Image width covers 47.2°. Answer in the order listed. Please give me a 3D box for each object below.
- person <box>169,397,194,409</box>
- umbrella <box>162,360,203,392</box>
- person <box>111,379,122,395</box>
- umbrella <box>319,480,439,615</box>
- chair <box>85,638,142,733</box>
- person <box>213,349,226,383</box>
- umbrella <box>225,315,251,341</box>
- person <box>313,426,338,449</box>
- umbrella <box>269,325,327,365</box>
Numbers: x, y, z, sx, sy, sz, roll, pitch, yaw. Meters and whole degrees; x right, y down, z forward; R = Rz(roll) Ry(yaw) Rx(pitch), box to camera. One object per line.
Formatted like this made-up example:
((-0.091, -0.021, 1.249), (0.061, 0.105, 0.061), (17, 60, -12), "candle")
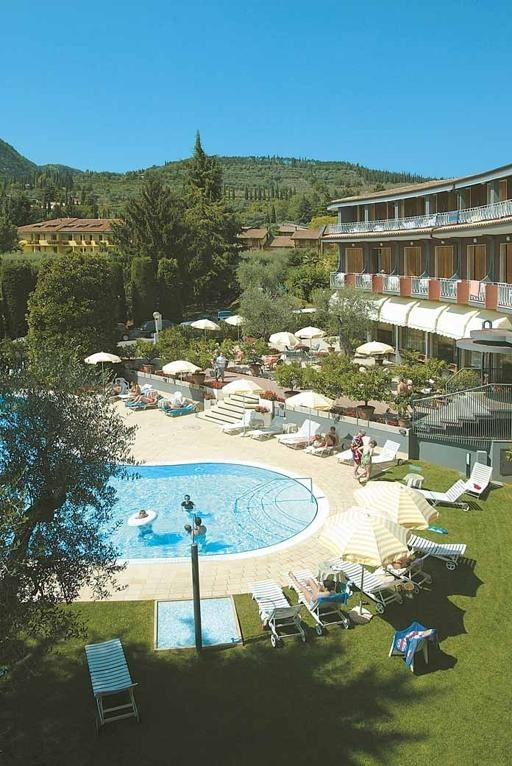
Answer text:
((-4.248, 1.013, 33.011), (0.732, 0.671, 1.392), (7, 10, 43), "person")
((-4.185, -0.234, 33.618), (1.810, 1.336, 1.863), (-7, 12, -26), "umbrella")
((-8.301, 0.264, 34.800), (0.482, 0.735, 0.708), (9, 25, 23), "person")
((2.744, 3.995, 12.913), (2.265, 2.843, 2.648), (2, 16, 15), "umbrella")
((-2.283, 4.729, 9.251), (0.594, 0.568, 1.517), (-5, 16, -26), "chair")
((-2.325, -0.957, 36.342), (0.724, 1.450, 2.334), (-1, 8, -4), "person")
((-1.468, -4.550, 45.787), (1.243, 1.401, 1.292), (6, 16, 33), "umbrella")
((3.073, 2.370, 24.885), (1.276, 0.961, 0.578), (-5, 3, -42), "person")
((2.691, -1.866, 40.212), (2.829, 2.348, 3.350), (0, 14, 16), "umbrella")
